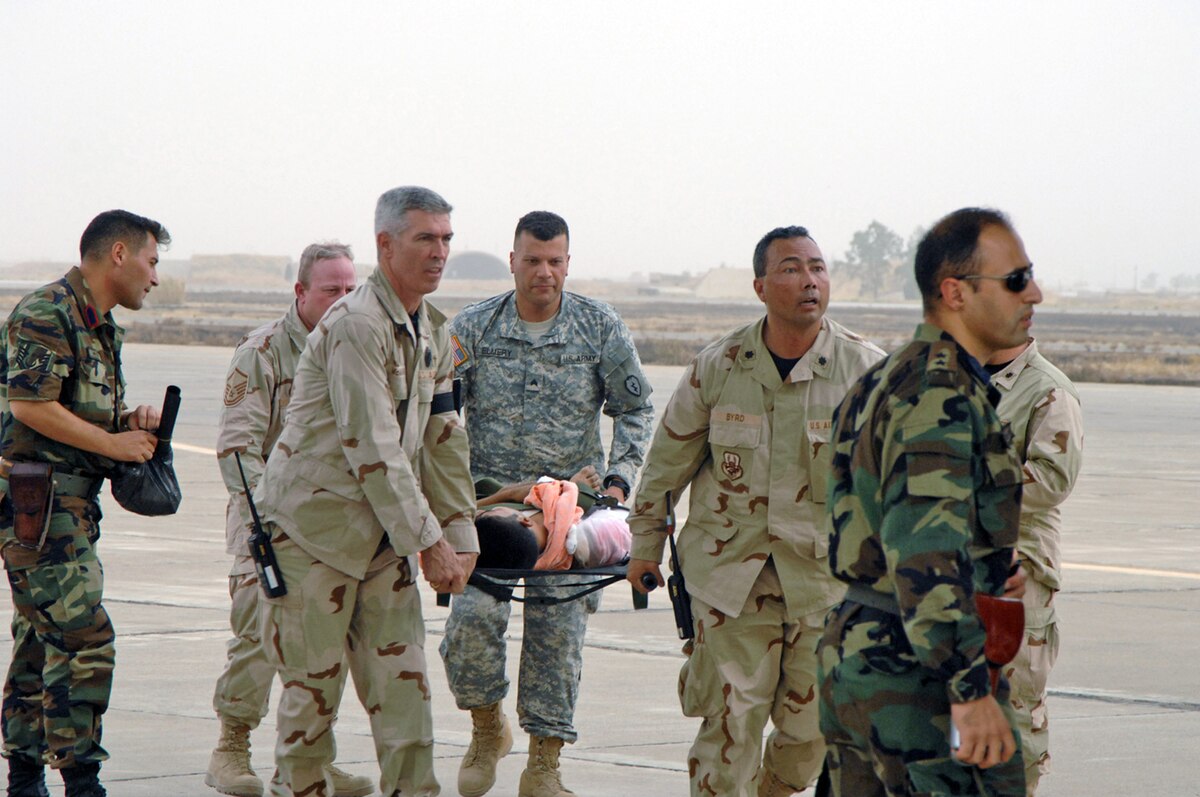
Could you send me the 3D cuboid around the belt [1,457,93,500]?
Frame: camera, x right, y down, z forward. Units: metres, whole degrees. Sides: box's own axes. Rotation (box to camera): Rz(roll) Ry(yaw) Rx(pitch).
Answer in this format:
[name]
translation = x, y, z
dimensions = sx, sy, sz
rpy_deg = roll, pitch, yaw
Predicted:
[belt]
translation = -2.647, 0.394, 6.323
dimensions = 0.295, 0.110, 0.210
rpy_deg = 1, 2, -14
